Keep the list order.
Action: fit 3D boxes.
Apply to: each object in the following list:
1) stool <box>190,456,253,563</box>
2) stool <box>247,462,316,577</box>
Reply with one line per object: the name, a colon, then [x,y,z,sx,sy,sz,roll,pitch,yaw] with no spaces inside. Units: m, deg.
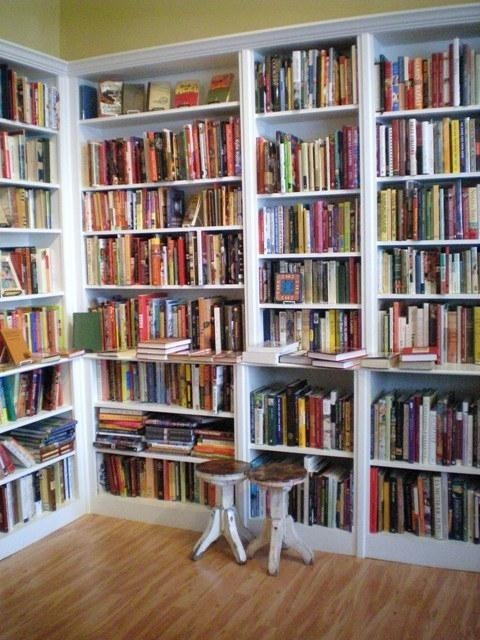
stool: [-0.065,0.848,2.615,0.266,0.430,0.377,-1,3,15]
stool: [0.172,0.832,2.506,0.333,0.496,0.365,-1,-3,16]
